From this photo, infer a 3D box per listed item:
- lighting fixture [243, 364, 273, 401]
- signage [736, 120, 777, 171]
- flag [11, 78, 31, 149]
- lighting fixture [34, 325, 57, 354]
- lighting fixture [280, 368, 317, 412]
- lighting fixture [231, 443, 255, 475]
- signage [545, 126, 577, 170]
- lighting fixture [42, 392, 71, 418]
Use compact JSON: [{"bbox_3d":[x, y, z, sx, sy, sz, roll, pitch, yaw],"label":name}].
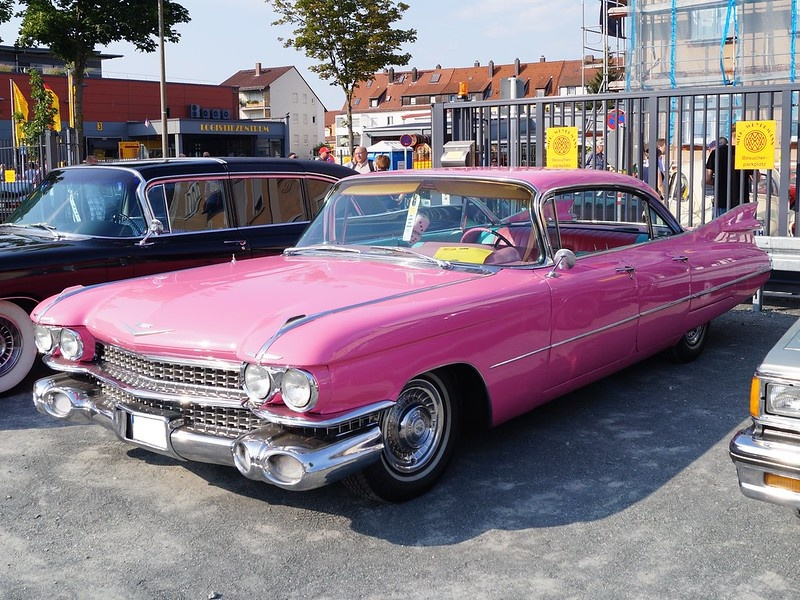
[{"bbox_3d":[-0.697,0.404,3.238,0.142,0.187,0.065,7,5,35],"label":"lighting fixture"},{"bbox_3d":[4.512,-1.988,8.323,0.550,0.747,0.032,5,13,35],"label":"signage"},{"bbox_3d":[-9.203,-4.593,15.888,0.308,1.694,0.171,-6,-14,-27],"label":"flag"},{"bbox_3d":[-2.236,0.241,4.139,0.162,0.216,0.067,5,9,41],"label":"lighting fixture"},{"bbox_3d":[-0.481,0.421,3.137,0.166,0.211,0.074,-6,1,38],"label":"lighting fixture"},{"bbox_3d":[-0.780,0.795,3.261,0.165,0.187,0.034,11,17,43],"label":"lighting fixture"},{"bbox_3d":[2.383,-2.275,9.642,0.451,0.565,0.292,3,13,17],"label":"signage"},{"bbox_3d":[-2.085,0.643,3.994,0.162,0.188,0.056,18,20,24],"label":"lighting fixture"}]
